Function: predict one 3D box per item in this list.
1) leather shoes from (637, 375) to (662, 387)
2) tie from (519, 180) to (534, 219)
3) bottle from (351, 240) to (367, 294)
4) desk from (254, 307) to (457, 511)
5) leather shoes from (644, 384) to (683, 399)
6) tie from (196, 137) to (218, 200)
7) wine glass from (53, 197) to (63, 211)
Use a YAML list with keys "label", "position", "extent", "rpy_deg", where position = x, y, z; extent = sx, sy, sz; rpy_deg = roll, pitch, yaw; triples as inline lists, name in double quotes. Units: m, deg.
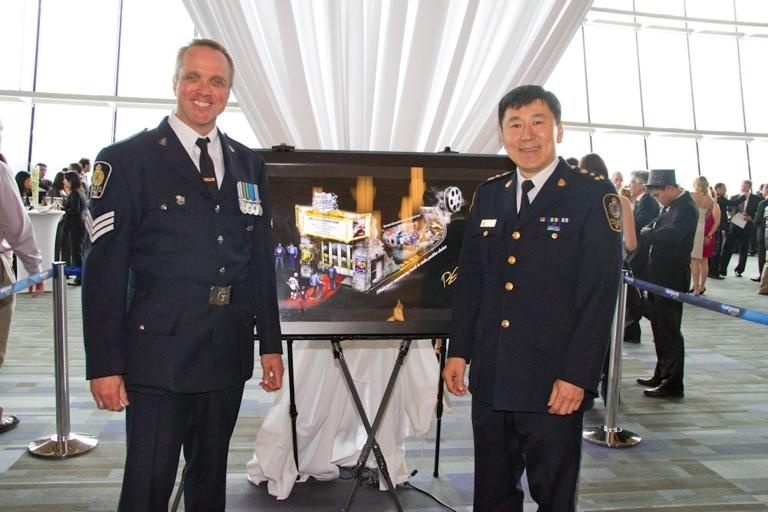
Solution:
- label: "leather shoes"
  position: [2.277, 1.078, 5.034]
  extent: [0.191, 0.078, 0.070]
  rpy_deg: [1, 0, 38]
- label: "tie"
  position: [0.656, -0.272, 2.730]
  extent: [0.046, 0.197, 0.051]
  rpy_deg: [14, -16, 16]
- label: "bottle"
  position: [-0.122, 0.057, 3.101]
  extent: [0.084, 0.256, 0.042]
  rpy_deg: [0, 11, -1]
- label: "desk"
  position: [-0.180, 0.899, 3.400]
  extent: [1.275, 1.102, 0.494]
  rpy_deg: [1, 1, -6]
- label: "leather shoes"
  position: [2.312, 1.120, 4.866]
  extent: [0.351, 0.142, 0.116]
  rpy_deg: [3, -2, -1]
- label: "tie"
  position: [-0.801, -0.401, 2.643]
  extent: [0.082, 0.287, 0.029]
  rpy_deg: [-5, -7, -13]
- label: "wine glass"
  position: [-4.449, -0.713, 8.057]
  extent: [0.153, 0.161, 0.149]
  rpy_deg: [0, 5, -17]
